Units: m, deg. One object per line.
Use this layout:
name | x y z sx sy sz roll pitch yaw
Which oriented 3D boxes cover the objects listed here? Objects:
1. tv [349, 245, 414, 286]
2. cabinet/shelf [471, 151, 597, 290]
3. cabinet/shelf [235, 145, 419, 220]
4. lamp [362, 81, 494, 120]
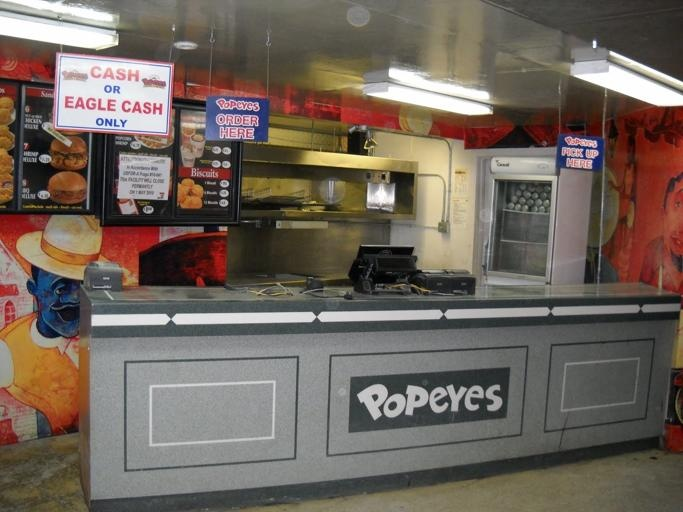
tv | 0.364 0.073 5.155 0.631 0.357 0.360 1 -1 -16
cabinet/shelf | 2.500 -0.520 7.892 1.558 1.851 0.444 10 12 37
cabinet/shelf | -0.129 -0.882 7.231 2.490 0.851 0.378 -3 11 -35
lamp | 0.880 -1.626 6.059 1.461 0.165 0.411 -4 11 -38
